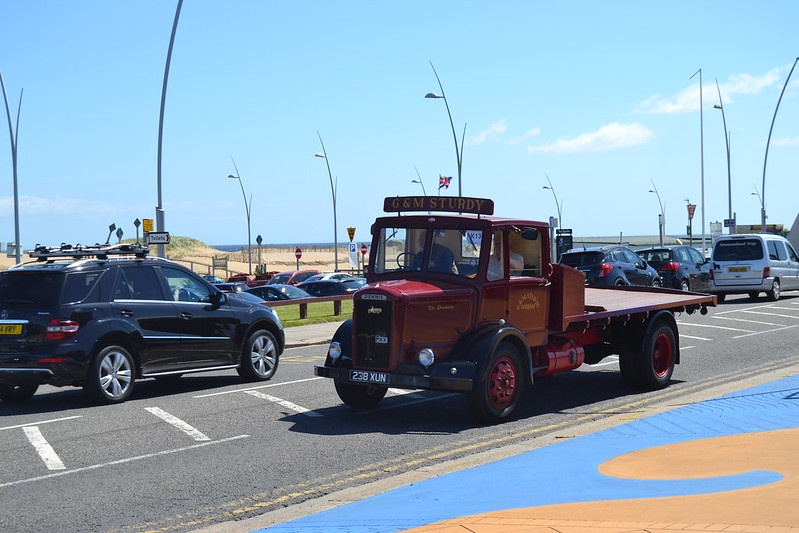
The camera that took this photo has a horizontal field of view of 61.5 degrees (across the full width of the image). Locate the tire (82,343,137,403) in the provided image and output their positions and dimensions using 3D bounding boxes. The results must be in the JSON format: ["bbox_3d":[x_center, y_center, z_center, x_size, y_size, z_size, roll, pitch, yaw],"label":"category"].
[{"bbox_3d":[-4.923,1.852,11.452,0.339,0.953,0.981,-6,-11,27],"label":"tire"}]

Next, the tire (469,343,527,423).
[{"bbox_3d":[1.405,1.715,9.882,1.005,1.169,0.233,-6,4,-42],"label":"tire"}]

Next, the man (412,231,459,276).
[{"bbox_3d":[0.573,-0.186,10.256,0.684,0.598,0.353,1,-3,30],"label":"man"}]

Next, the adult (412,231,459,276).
[{"bbox_3d":[0.573,-0.186,10.256,0.684,0.598,0.353,1,-3,30],"label":"adult"}]

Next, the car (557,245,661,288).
[{"bbox_3d":[7.641,0.016,24.729,2.294,1.790,4.303,1,6,44],"label":"car"}]

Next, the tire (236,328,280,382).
[{"bbox_3d":[-2.799,1.728,13.290,0.380,1.068,1.098,-2,-4,37],"label":"tire"}]

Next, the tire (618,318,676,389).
[{"bbox_3d":[4.343,1.537,11.947,1.165,1.134,0.397,-15,14,-42],"label":"tire"}]
